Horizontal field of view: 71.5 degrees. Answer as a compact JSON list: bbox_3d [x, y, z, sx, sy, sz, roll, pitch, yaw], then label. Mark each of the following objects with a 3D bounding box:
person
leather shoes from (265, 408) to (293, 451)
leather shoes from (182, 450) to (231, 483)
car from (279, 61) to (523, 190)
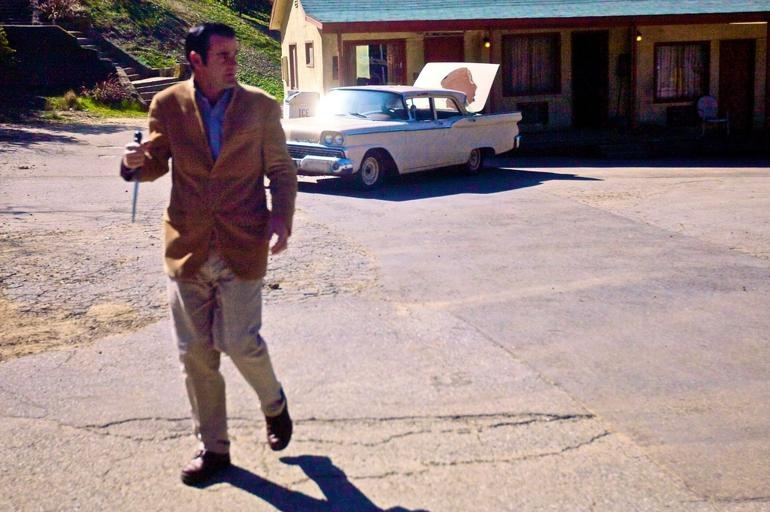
[{"bbox_3d":[-0.927,-0.006,2.912,0.871,2.427,0.505,0,11,-9],"label":"person"},{"bbox_3d":[-0.638,1.004,3.120,0.122,0.135,0.295,-18,51,10],"label":"leather shoes"},{"bbox_3d":[-0.978,1.148,3.001,0.113,0.103,0.292,5,4,34],"label":"leather shoes"},{"bbox_3d":[0.416,-2.577,11.613,4.971,2.206,1.523,-5,12,-32],"label":"car"}]
